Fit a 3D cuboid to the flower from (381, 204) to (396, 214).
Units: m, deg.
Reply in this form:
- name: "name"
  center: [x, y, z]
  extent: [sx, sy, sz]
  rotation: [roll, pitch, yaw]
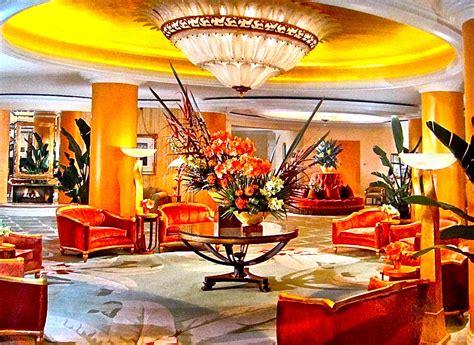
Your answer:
- name: "flower"
  center: [2.981, 0.724, 7.410]
  extent: [0.215, 0.086, 0.205]
  rotation: [9, -3, 16]

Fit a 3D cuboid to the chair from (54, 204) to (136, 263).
- name: "chair"
  center: [-2.729, 1.108, 7.160]
  extent: [1.232, 0.874, 1.176]
  rotation: [-6, -8, 44]

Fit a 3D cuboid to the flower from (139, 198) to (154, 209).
- name: "flower"
  center: [-1.706, 0.611, 7.317]
  extent: [0.313, 0.121, 0.290]
  rotation: [3, -1, 6]

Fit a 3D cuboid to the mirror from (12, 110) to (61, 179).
- name: "mirror"
  center: [-7.431, -0.890, 13.992]
  extent: [1.259, 1.991, 0.553]
  rotation: [0, 2, -24]

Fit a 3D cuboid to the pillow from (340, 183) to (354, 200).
- name: "pillow"
  center: [4.286, 0.768, 14.757]
  extent: [0.592, 0.508, 0.227]
  rotation: [1, -21, -12]

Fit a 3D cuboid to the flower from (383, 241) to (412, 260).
- name: "flower"
  center: [1.752, 0.871, 4.154]
  extent: [0.216, 0.235, 0.220]
  rotation: [2, 2, 25]

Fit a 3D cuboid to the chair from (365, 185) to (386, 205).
- name: "chair"
  center: [6.059, 1.039, 16.727]
  extent: [0.757, 0.834, 1.666]
  rotation: [2, 2, 18]

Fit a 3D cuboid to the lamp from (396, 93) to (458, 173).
- name: "lamp"
  center: [2.068, -0.366, 4.097]
  extent: [0.757, 0.635, 0.686]
  rotation: [-1, -1, 1]

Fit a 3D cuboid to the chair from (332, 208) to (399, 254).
- name: "chair"
  center: [2.765, 1.213, 7.893]
  extent: [1.097, 0.928, 1.235]
  rotation: [-4, -8, 43]

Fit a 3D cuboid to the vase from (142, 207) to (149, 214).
- name: "vase"
  center: [-1.767, 0.745, 7.354]
  extent: [0.120, 0.138, 0.164]
  rotation: [-3, -4, 34]
